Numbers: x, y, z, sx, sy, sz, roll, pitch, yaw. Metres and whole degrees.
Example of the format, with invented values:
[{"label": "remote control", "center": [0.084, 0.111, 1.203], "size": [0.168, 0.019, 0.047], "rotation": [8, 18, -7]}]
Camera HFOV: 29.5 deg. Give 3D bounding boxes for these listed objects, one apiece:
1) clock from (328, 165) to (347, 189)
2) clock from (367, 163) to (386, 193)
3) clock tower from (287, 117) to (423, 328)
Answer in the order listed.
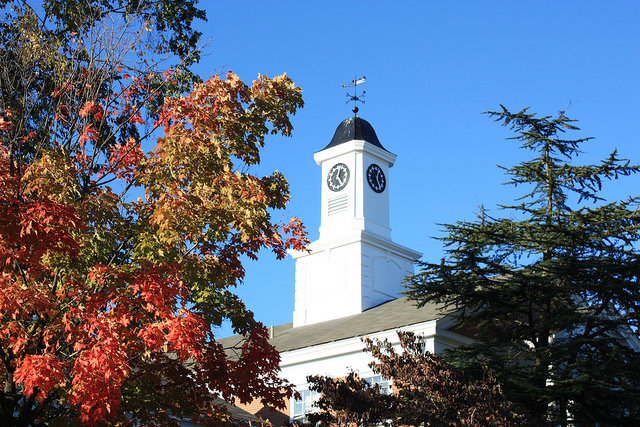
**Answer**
[{"label": "clock", "center": [0.757, -1.505, 52.411], "size": [0.067, 0.881, 0.898], "rotation": [18, -25, -37]}, {"label": "clock", "center": [2.360, -1.458, 52.334], "size": [0.077, 0.982, 1.022], "rotation": [-18, -39, 39]}, {"label": "clock tower", "center": [1.351, 0.233, 51.547], "size": [4.369, 9.638, 3.242], "rotation": [-6, -38, 13]}]
